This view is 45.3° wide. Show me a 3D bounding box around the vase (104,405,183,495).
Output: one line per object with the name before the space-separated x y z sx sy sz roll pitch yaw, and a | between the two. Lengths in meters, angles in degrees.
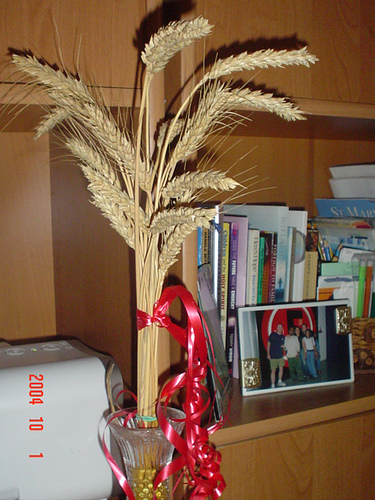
vase | -0.063 0.260 0.658 0.101 0.145 0.105 -1 -2 25

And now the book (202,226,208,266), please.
book | 0.034 -0.007 0.867 0.014 0.070 0.034 -3 -4 -1

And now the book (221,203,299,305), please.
book | 0.162 0.027 1.080 0.155 0.240 0.231 7 -17 1
